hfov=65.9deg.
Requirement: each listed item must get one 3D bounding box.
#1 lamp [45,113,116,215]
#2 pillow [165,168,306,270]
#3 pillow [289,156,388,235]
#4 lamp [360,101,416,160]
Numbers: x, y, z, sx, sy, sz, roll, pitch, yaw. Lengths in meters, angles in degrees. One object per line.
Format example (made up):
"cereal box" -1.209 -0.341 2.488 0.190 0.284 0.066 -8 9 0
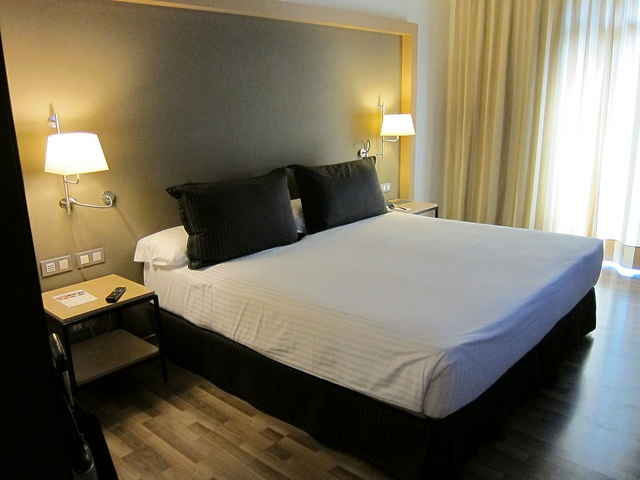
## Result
"lamp" -1.396 -0.439 2.843 0.347 0.574 0.285 5 16 36
"pillow" -0.525 -0.156 3.466 0.899 0.582 0.325 -16 17 -36
"pillow" 0.210 -0.384 4.173 0.862 0.556 0.292 -17 13 -38
"lamp" 0.689 -1.103 4.924 0.381 0.626 0.492 -8 12 -44
